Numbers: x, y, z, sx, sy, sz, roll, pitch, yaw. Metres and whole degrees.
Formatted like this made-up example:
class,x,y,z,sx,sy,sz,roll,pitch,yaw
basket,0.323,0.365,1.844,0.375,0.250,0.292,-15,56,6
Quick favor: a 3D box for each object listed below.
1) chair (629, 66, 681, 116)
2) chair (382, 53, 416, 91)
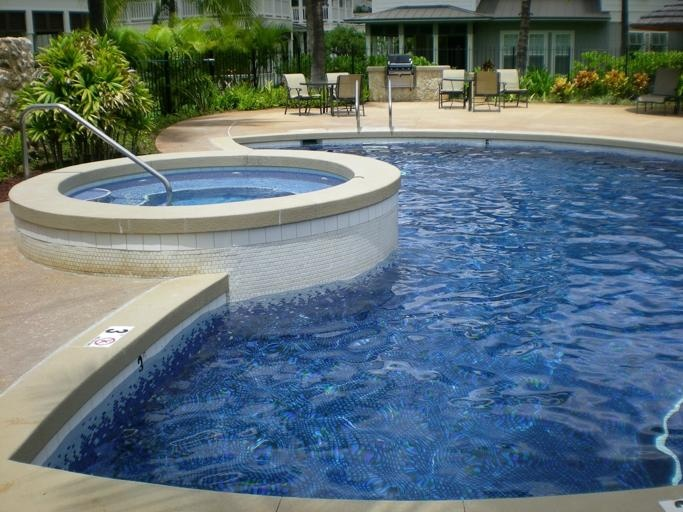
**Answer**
class,x,y,z,sx,sy,sz,roll,pitch,yaw
chair,10.690,-5.439,17.171,1.517,1.450,2.424,18,36,38
chair,2.599,-7.950,22.558,1.565,1.418,1.050,-4,17,-9
